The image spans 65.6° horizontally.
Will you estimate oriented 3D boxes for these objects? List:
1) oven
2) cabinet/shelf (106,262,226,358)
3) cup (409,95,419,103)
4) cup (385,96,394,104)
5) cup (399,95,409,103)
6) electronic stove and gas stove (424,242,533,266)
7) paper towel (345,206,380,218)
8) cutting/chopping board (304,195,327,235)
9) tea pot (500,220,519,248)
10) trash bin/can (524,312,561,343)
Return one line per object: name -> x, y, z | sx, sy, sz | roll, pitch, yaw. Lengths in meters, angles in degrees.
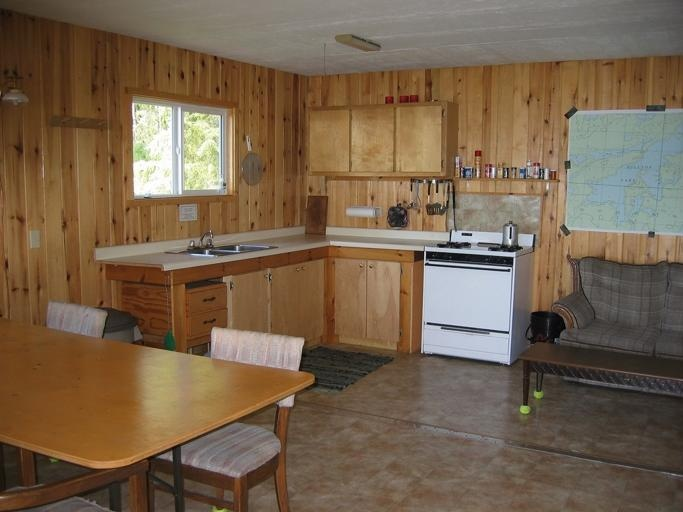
oven -> 1.516, 0.515, 5.694 | 0.895, 1.095, 1.045 | 3, 0, -44
cabinet/shelf -> -1.464, 0.282, 4.749 | 0.751, 0.939, 1.010 | 3, 6, 21
cup -> 0.807, -1.747, 5.897 | 0.107, 0.074, 0.103 | 0, 1, 0
cup -> 0.533, -1.749, 5.946 | 0.111, 0.077, 0.106 | 0, 4, 0
cup -> 0.698, -1.755, 5.919 | 0.104, 0.069, 0.100 | 0, 0, 0
electronic stove and gas stove -> 1.384, -0.020, 5.467 | 0.983, 0.162, 0.416 | 3, 9, 20
paper towel -> 0.243, -0.530, 6.293 | 0.391, 0.116, 0.148 | 4, 10, 26
cutting/chopping board -> -0.324, -0.524, 6.646 | 0.286, 0.479, 0.158 | 1, 10, 6
tea pot -> 1.759, -0.218, 5.539 | 0.199, 0.318, 0.254 | 1, -1, 5
trash bin/can -> 2.072, 0.723, 5.413 | 0.298, 0.316, 0.306 | 11, 20, 36
